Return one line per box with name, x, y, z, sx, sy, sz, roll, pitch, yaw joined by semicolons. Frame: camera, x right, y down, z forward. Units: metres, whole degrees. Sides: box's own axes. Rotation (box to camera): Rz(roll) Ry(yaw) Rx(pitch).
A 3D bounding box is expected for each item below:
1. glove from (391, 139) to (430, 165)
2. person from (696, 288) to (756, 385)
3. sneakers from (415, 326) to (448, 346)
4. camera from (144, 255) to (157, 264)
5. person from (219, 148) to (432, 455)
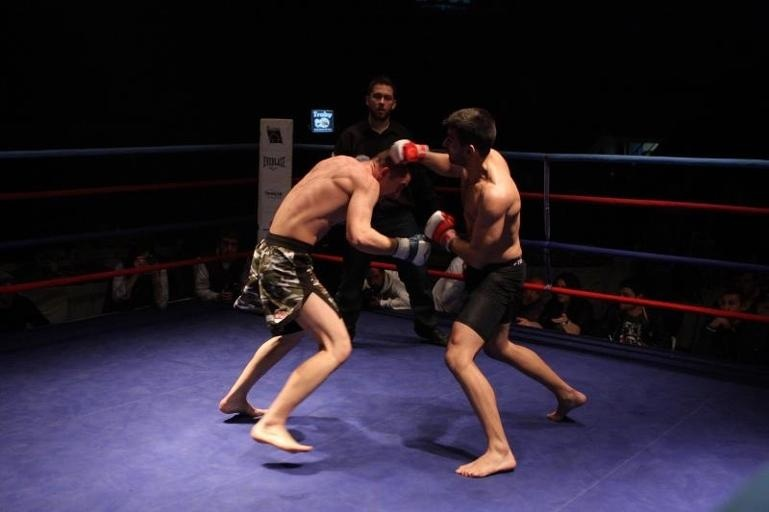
glove;0.131;-0.508;2.745;0.189;0.077;0.116;-11;66;-27
person;2.461;0.523;4.023;0.336;0.407;1.005;10;17;29
sneakers;0.344;0.587;4.155;0.303;0.104;0.105;4;9;27
camera;-1.967;0.023;4.719;0.073;0.046;0.074;5;2;37
person;-0.363;0.173;2.771;0.590;1.349;0.858;16;22;41
